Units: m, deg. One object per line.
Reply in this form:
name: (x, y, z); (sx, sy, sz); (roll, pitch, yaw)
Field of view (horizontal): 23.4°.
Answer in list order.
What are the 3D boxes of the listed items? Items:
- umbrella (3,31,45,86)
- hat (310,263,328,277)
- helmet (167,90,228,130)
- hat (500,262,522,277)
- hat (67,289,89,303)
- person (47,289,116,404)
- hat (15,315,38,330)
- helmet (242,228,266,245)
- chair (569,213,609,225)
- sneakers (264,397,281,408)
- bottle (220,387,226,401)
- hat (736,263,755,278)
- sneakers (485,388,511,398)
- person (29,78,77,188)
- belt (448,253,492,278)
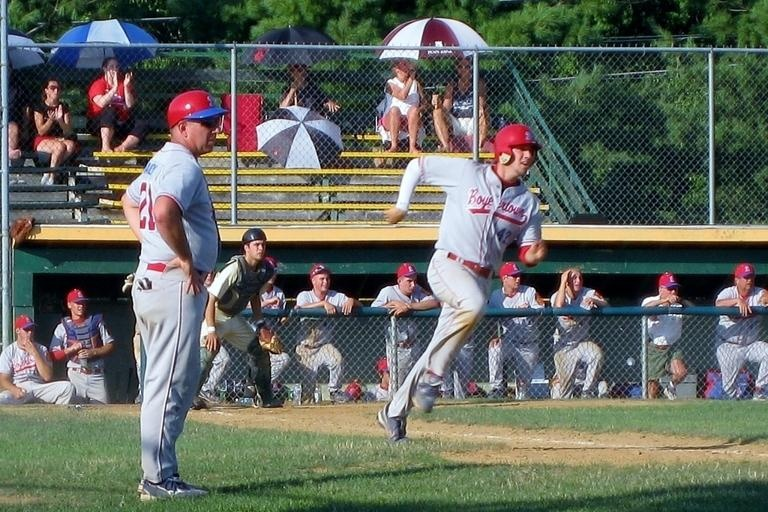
umbrella: (-5.607, -3.244, 29.256); (0.601, 0.894, 2.683); (2, 1, -12)
hat: (-0.970, 0.191, 28.189); (0.193, 0.206, 0.251); (0, -12, -41)
helmet: (-2.307, -1.798, 22.832); (0.589, 0.288, 0.456); (-20, 9, 0)
hat: (1.953, 0.196, 28.197); (0.275, 0.161, 0.205); (-10, -2, 22)
hat: (-4.688, 0.576, 28.297); (0.284, 0.255, 0.414); (3, -10, -39)
person: (-4.531, 1.675, 28.137); (0.994, 2.277, 0.795); (-7, 6, -14)
hat: (-5.357, 0.983, 27.757); (0.281, 0.173, 0.185); (-4, -3, 29)
helmet: (-1.822, -0.301, 26.210); (0.223, 0.213, 0.276); (-6, 19, -33)
chair: (3.264, -0.607, 29.221); (0.603, 0.184, 0.124); (2, 1, 3)
sneakers: (-1.585, 2.111, 26.766); (0.306, 0.138, 0.100); (1, 2, -31)
bottle: (-2.379, 2.073, 27.828); (0.123, 0.185, 0.124); (1, -12, 0)
hat: (5.530, 0.206, 28.320); (0.200, 0.148, 0.287); (1, -7, -4)
sneakers: (1.766, 2.041, 27.656); (0.229, 0.089, 0.174); (-2, -2, -30)
person: (-5.205, -2.115, 29.440); (0.709, 1.417, 0.464); (2, 1, -10)
belt: (1.164, 0.126, 24.034); (0.398, 0.093, 0.358); (26, -7, 1)
